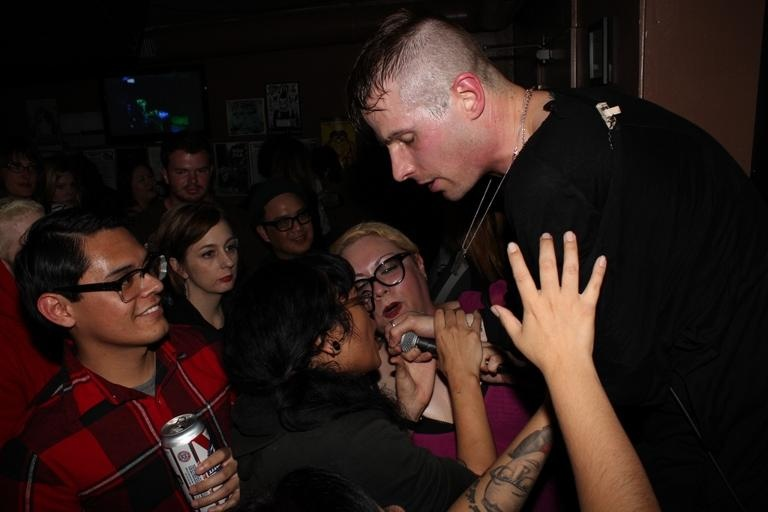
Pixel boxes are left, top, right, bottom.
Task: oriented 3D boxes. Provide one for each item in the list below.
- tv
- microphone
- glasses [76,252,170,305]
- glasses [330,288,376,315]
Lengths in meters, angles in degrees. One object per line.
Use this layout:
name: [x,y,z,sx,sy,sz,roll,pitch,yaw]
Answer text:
tv: [-2.380,-1.509,5.967,1.036,0.762,0.148,-4,5,-13]
microphone: [0.316,0.456,2.755,0.411,0.117,0.109,17,10,0]
glasses: [-1.202,0.113,2.661,0.225,0.071,0.228,-6,11,13]
glasses: [-0.122,0.202,2.691,0.118,0.075,0.163,-13,-11,38]
